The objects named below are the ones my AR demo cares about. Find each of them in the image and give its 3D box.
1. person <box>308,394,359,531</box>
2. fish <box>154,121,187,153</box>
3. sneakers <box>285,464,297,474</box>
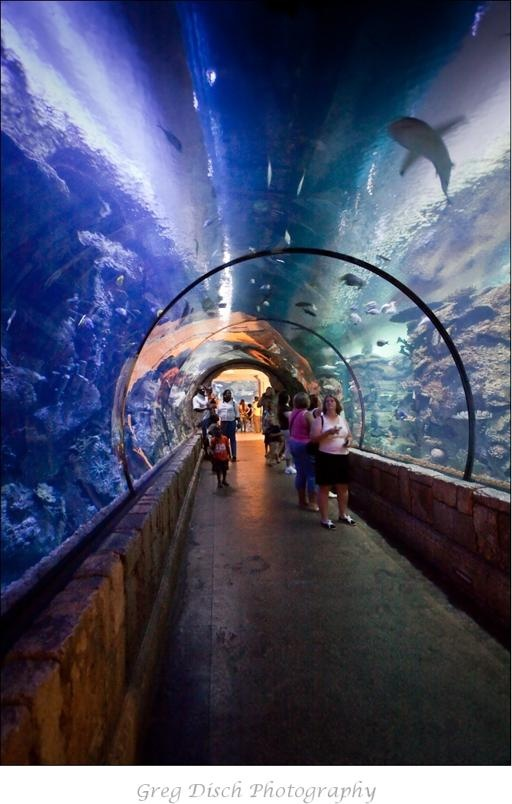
[{"bbox_3d":[1.152,0.796,5.491,0.542,1.703,1.140,-1,0,15],"label":"person"},{"bbox_3d":[-0.610,-1.870,2.720,0.044,0.104,0.233,32,5,28],"label":"fish"},{"bbox_3d":[0.949,1.662,10.512,0.404,0.296,0.185,-5,-5,32],"label":"sneakers"}]
